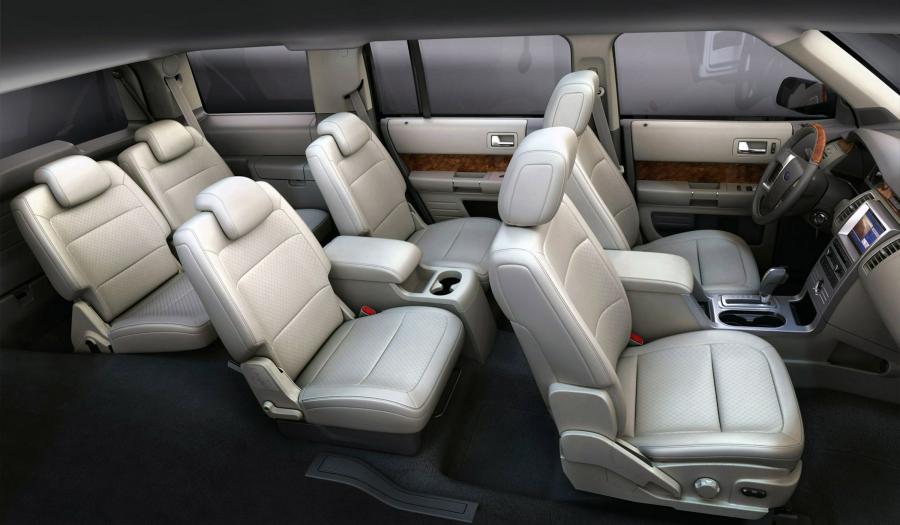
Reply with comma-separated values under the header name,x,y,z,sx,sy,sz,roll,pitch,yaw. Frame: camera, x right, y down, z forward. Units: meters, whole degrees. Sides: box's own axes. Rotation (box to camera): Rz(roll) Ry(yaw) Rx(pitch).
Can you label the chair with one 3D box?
name,x,y,z,sx,sy,sz,roll,pitch,yaw
chair,-0.188,0.117,3.354,4.030,1.743,2.323,4,27,13
